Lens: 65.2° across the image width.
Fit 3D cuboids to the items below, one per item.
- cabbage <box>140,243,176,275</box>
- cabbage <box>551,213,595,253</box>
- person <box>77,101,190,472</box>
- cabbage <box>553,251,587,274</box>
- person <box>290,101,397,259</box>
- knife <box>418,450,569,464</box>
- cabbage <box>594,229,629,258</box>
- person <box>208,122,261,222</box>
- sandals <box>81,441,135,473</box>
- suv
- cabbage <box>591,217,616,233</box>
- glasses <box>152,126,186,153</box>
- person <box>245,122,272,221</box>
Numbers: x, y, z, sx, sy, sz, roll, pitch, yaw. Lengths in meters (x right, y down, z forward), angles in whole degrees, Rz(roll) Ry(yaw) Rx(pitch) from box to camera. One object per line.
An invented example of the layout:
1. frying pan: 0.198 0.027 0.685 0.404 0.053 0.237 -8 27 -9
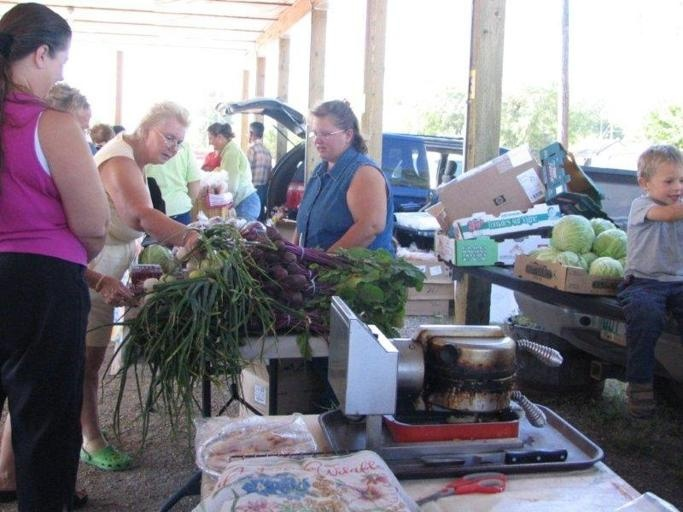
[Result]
1. cabbage: -0.903 0.009 2.629 0.185 0.162 0.147 9 9 -7
2. cabbage: 1.777 -0.173 4.118 0.228 0.281 0.309 13 7 -19
3. person: -1.046 0.185 2.912 0.866 1.941 0.502 2 0 33
4. cabbage: 1.656 0.032 3.855 0.206 0.118 0.190 3 9 25
5. person: -0.035 -0.460 3.442 0.652 1.015 0.963 -7 8 -32
6. knife: 0.449 0.593 1.567 0.440 0.042 0.045 -1 9 -1
7. cabbage: 1.978 -0.083 3.947 0.219 0.202 0.176 -11 -2 9
8. person: -1.423 -0.877 7.160 0.536 1.743 0.589 -8 12 -14
9. sandals: -1.361 1.178 3.152 0.287 0.127 0.156 4 14 1
10. suv: -0.213 -1.506 8.611 4.952 2.286 3.144 -1 12 -23
11. cabbage: 2.022 -0.255 4.121 0.136 0.092 0.133 0 9 -10
12. glasses: -0.902 -0.626 2.836 0.112 0.036 0.109 37 18 22
13. person: -1.329 -1.404 8.708 0.444 1.511 0.457 -4 15 -27
